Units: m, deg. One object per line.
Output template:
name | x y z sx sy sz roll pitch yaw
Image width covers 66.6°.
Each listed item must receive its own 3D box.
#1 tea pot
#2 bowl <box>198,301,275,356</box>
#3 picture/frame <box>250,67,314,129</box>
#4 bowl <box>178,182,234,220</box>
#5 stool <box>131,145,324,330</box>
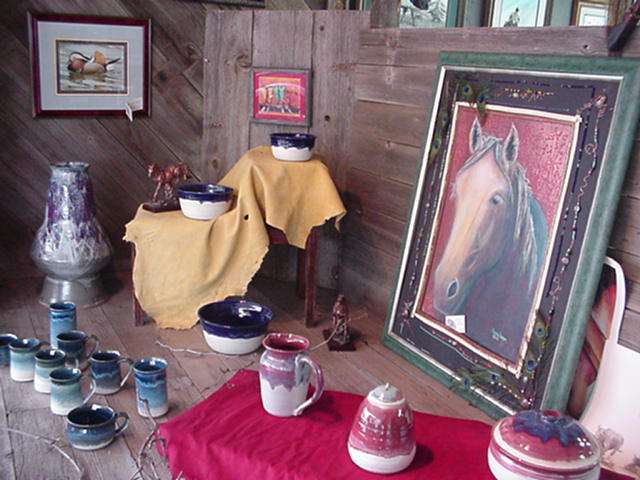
tea pot | -0.113 0.447 1.698 0.183 0.282 0.286 -6 12 -37
bowl | -0.426 0.432 2.397 0.317 0.216 0.240 12 20 27
picture/frame | -0.211 -0.859 2.881 0.339 0.299 0.029 8 13 17
bowl | -0.628 -0.209 2.576 0.331 0.150 0.237 14 21 30
stool | -0.600 -0.037 2.519 0.928 0.721 0.938 -6 14 -24
